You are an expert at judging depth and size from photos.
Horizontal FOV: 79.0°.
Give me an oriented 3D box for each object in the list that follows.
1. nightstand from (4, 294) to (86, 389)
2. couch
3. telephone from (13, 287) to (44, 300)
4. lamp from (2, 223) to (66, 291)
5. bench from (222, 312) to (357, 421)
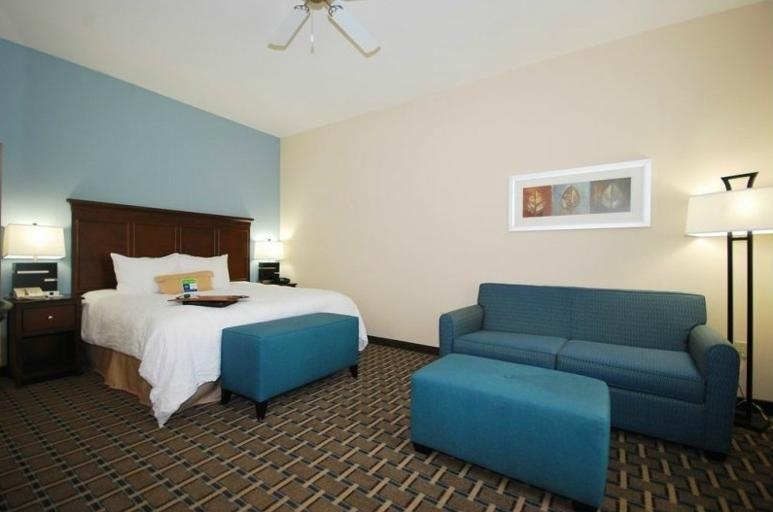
[{"bbox_3d":[-3.764,0.881,5.204,0.707,0.878,0.537,-5,6,-39],"label":"nightstand"},{"bbox_3d":[1.886,0.971,4.906,2.674,1.222,1.121,4,6,29],"label":"couch"},{"bbox_3d":[-3.880,0.401,5.127,0.187,0.071,0.190,11,7,39],"label":"telephone"},{"bbox_3d":[-3.840,0.030,5.302,0.389,0.643,0.729,-3,-2,28],"label":"lamp"},{"bbox_3d":[-0.995,1.052,5.155,0.702,0.782,1.543,4,5,35],"label":"bench"}]
